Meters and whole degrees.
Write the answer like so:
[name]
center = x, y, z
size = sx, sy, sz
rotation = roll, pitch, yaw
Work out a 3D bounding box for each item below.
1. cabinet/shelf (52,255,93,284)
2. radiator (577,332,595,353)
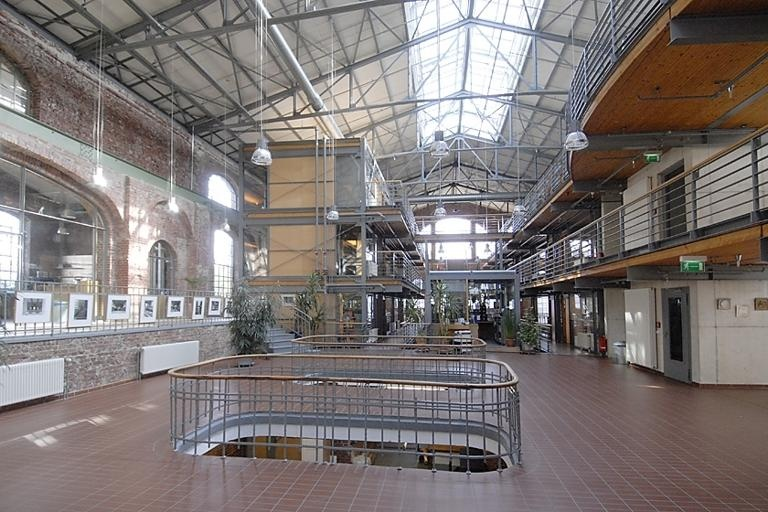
[cabinet/shelf]
center = -11.598, 0.436, 18.799
size = 1.280, 0.997, 0.366
rotation = 0, -3, -1
[radiator]
center = 8.879, 3.768, 22.385
size = 0.828, 1.164, 1.419
rotation = 0, -3, 16
